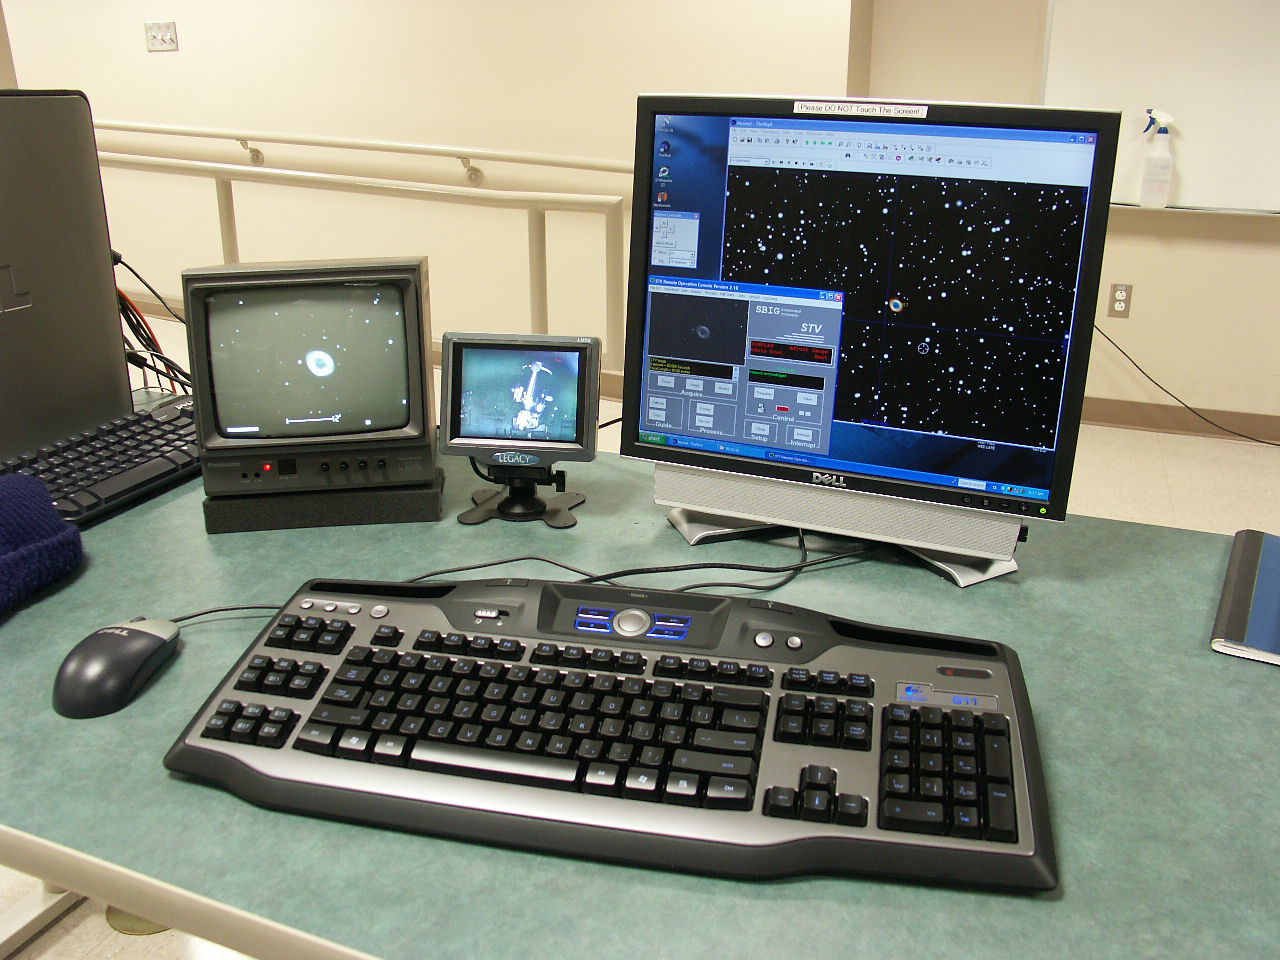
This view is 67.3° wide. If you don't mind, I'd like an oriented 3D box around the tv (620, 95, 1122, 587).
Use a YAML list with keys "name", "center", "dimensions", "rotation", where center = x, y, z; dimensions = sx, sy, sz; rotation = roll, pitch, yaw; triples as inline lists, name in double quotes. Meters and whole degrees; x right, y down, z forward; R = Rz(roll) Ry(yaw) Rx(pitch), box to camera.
- name: "tv"
  center: [0.278, -0.182, 1.223]
  dimensions: [0.194, 0.545, 0.701]
  rotation: [-17, 22, -39]

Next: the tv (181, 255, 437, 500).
- name: "tv"
  center: [-0.365, -0.127, 1.404]
  dimensions: [0.496, 0.364, 0.310]
  rotation: [-3, 13, -3]

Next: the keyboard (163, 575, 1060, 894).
- name: "keyboard"
  center: [-0.022, 0.216, 0.921]
  dimensions: [0.775, 0.117, 0.306]
  rotation: [4, 20, 9]

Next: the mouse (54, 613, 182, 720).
- name: "mouse"
  center: [-0.548, 0.175, 1.005]
  dimensions: [0.094, 0.049, 0.159]
  rotation: [15, 15, -7]
